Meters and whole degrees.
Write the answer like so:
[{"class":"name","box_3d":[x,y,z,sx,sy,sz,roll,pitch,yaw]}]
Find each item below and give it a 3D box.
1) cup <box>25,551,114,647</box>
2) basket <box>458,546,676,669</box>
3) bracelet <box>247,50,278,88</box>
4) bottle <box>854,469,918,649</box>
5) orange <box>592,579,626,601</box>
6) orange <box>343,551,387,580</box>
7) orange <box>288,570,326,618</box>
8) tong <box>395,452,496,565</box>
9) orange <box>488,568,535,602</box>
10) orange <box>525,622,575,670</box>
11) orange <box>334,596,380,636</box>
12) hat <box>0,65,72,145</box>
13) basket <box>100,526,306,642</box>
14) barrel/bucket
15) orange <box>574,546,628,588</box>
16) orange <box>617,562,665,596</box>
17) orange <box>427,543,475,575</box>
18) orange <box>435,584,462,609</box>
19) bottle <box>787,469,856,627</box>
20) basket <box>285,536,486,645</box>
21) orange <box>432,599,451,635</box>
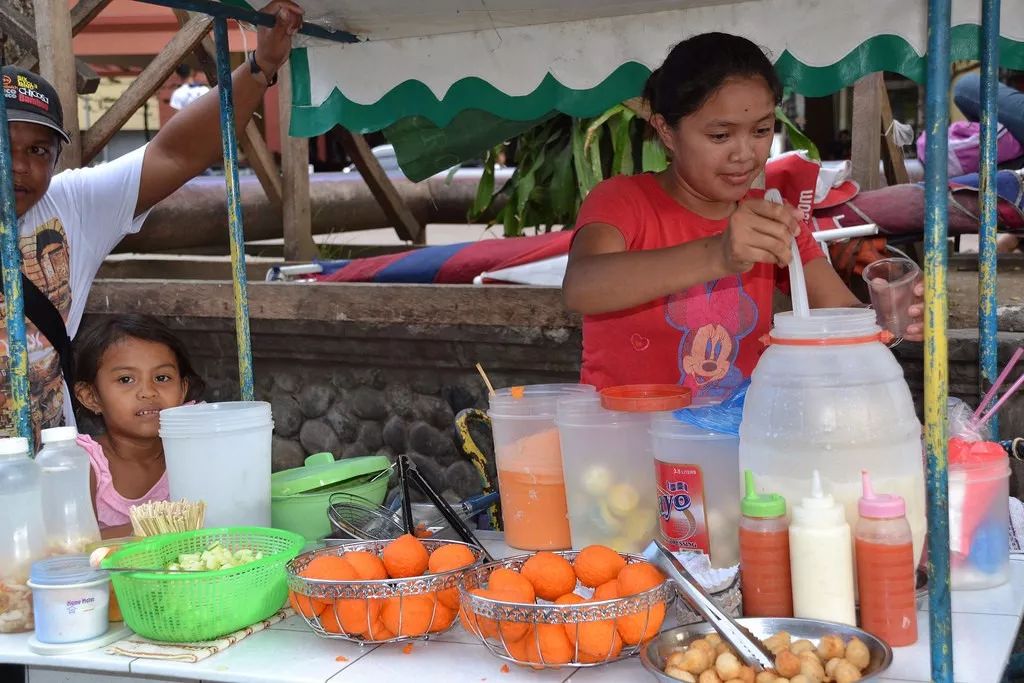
[{"class":"cup","box_3d":[-1.105,0.646,2.421,0.193,0.202,0.199,0,-2,0]},{"class":"basket","box_3d":[0.113,0.642,2.184,0.296,0.112,0.310,0,6,24]},{"class":"bracelet","box_3d":[-0.853,-0.916,3.316,0.092,0.119,0.043,-3,-20,-44]},{"class":"bottle","box_3d":[0.869,0.493,2.260,0.122,0.391,0.124,-6,5,0]},{"class":"orange","box_3d":[0.224,0.584,2.263,0.047,0.058,0.048,22,-9,7]},{"class":"orange","box_3d":[-0.360,0.537,2.379,0.080,0.049,0.062,23,-1,8]},{"class":"orange","box_3d":[-0.491,0.600,2.320,0.077,0.066,0.067,-21,13,-9]},{"class":"tong","box_3d":[-0.256,0.453,2.699,0.170,0.268,0.229,-23,-14,-8]},{"class":"orange","box_3d":[-0.002,0.568,2.283,0.094,0.058,0.065,22,2,16]},{"class":"orange","box_3d":[0.087,0.676,2.170,0.097,0.098,0.093,-2,-12,3]},{"class":"orange","box_3d":[-0.362,0.637,2.267,0.082,0.062,0.085,2,-5,-13]},{"class":"hat","box_3d":[-1.718,-0.857,3.492,0.211,0.177,0.321,7,8,-30]},{"class":"basket","box_3d":[-0.732,0.614,2.436,0.270,0.125,0.320,-1,0,24]},{"class":"barrel/bucket","box_3d":[0.803,0.307,2.459,0.462,0.698,0.450,-2,-2,0]},{"class":"orange","box_3d":[0.203,0.557,2.414,0.113,0.116,0.142,3,-9,-17]},{"class":"orange","box_3d":[0.292,0.551,2.248,0.078,0.078,0.073,-1,-21,-9]},{"class":"orange","box_3d":[-0.151,0.538,2.405,0.074,0.075,0.068,-17,9,-28]},{"class":"orange","box_3d":[-0.150,0.613,2.321,0.049,0.046,0.048,-15,23,-12]},{"class":"bottle","box_3d":[0.717,0.477,2.236,0.152,0.356,0.098,-3,0,7]},{"class":"basket","box_3d":[-0.338,0.626,2.469,0.507,0.190,0.524,-1,1,-7]},{"class":"orange","box_3d":[-0.167,0.658,2.317,0.061,0.062,0.062,2,4,2]}]
